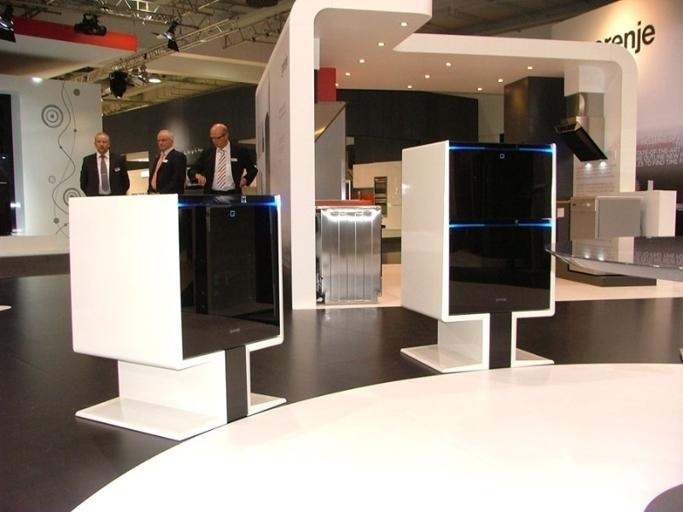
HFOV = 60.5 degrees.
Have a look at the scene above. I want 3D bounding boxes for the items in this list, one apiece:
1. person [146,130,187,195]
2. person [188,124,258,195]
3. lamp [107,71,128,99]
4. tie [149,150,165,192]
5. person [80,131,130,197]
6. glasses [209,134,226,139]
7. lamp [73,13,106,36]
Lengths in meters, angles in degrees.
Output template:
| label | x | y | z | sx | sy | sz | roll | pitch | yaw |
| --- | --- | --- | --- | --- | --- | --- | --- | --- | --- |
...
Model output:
| label | x | y | z | sx | sy | sz | roll | pitch | yaw |
| --- | --- | --- | --- | --- | --- | --- | --- | --- | --- |
| person | -1.998 | -1.070 | 6.671 | 0.418 | 0.724 | 0.735 | -3 | 9 | -19 |
| person | -1.341 | -1.110 | 6.719 | 0.566 | 0.779 | 0.662 | -7 | 11 | -38 |
| lamp | -4.138 | -3.200 | 10.848 | 0.277 | 0.485 | 0.383 | -2 | 9 | -16 |
| tie | -2.114 | -0.963 | 6.694 | 0.268 | 0.386 | 0.089 | 0 | 1 | 3 |
| person | -3.159 | -1.235 | 7.851 | 0.584 | 0.803 | 0.396 | 4 | 9 | 25 |
| glasses | -1.381 | -1.338 | 6.580 | 0.172 | 0.063 | 0.264 | -2 | 9 | -11 |
| lamp | -3.782 | -3.429 | 8.733 | 0.424 | 0.258 | 0.569 | -10 | 27 | -30 |
